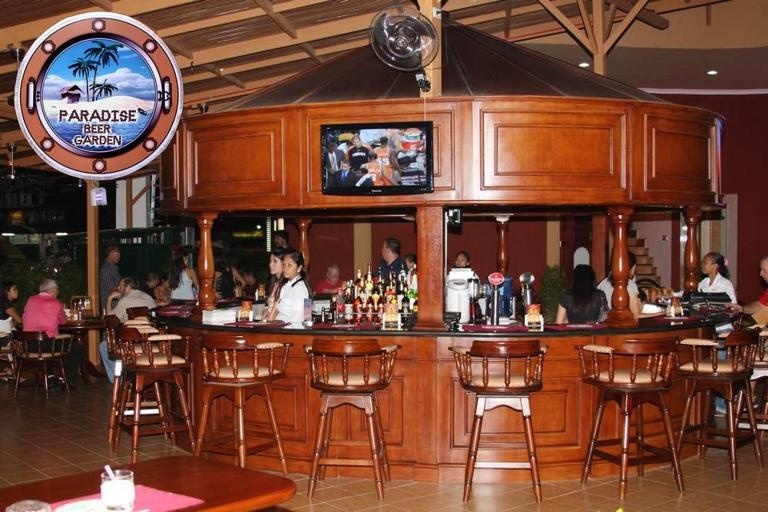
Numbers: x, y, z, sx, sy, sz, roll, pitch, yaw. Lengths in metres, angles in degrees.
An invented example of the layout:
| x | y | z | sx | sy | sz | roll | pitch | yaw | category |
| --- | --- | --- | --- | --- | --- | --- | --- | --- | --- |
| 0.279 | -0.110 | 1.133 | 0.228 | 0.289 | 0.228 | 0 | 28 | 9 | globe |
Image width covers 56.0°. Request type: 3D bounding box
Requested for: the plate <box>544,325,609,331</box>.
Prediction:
| x | y | z | sx | sy | sz | roll | pitch | yaw | category |
| --- | --- | --- | --- | --- | --- | --- | --- | --- | --- |
| 2.066 | 0.770 | 7.815 | 0.713 | 0.073 | 0.443 | -1 | -6 | -5 | plate |

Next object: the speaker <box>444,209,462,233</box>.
| x | y | z | sx | sy | sz | roll | pitch | yaw | category |
| --- | --- | --- | --- | --- | --- | --- | --- | --- | --- |
| 0.832 | -0.443 | 8.857 | 0.261 | 0.229 | 0.436 | -3 | -29 | 2 | speaker |

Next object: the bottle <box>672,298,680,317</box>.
| x | y | z | sx | sy | sz | roll | pitch | yaw | category |
| --- | --- | --- | --- | --- | --- | --- | --- | --- | --- |
| 3.400 | 0.588 | 8.461 | 0.138 | 0.248 | 0.221 | -4 | -6 | 21 | bottle |

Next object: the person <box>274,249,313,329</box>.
| x | y | z | sx | sy | sz | roll | pitch | yaw | category |
| --- | --- | --- | --- | --- | --- | --- | --- | --- | --- |
| -1.084 | 0.369 | 8.325 | 0.439 | 0.872 | 0.447 | -2 | -6 | 5 | person |

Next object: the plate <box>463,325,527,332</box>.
| x | y | z | sx | sy | sz | roll | pitch | yaw | category |
| --- | --- | --- | --- | --- | --- | --- | --- | --- | --- |
| 1.165 | 0.770 | 7.697 | 0.682 | 0.084 | 0.306 | -2 | -6 | 5 | plate |

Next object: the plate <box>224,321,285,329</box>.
| x | y | z | sx | sy | sz | roll | pitch | yaw | category |
| --- | --- | --- | --- | --- | --- | --- | --- | --- | --- |
| -1.415 | 0.763 | 8.080 | 0.762 | 0.100 | 0.351 | -3 | -6 | 20 | plate |

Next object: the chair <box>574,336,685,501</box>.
| x | y | z | sx | sy | sz | roll | pitch | yaw | category |
| --- | --- | --- | --- | --- | --- | --- | --- | --- | --- |
| 2.531 | 1.643 | 7.508 | 1.013 | 1.564 | 0.989 | -3 | -6 | 17 | chair |

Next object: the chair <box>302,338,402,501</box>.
| x | y | z | sx | sy | sz | roll | pitch | yaw | category |
| --- | --- | --- | --- | --- | --- | --- | --- | --- | --- |
| -0.330 | 1.625 | 7.406 | 0.949 | 1.587 | 0.813 | -1 | -6 | -6 | chair |

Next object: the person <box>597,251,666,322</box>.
| x | y | z | sx | sy | sz | roll | pitch | yaw | category |
| --- | --- | --- | --- | --- | --- | --- | --- | --- | --- |
| 2.873 | 0.529 | 8.666 | 0.437 | 0.858 | 0.520 | -16 | -8 | 15 | person |

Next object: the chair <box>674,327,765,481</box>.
| x | y | z | sx | sy | sz | roll | pitch | yaw | category |
| --- | --- | --- | --- | --- | --- | --- | --- | --- | --- |
| 3.723 | 1.596 | 8.086 | 0.882 | 1.565 | 1.275 | -4 | -6 | 21 | chair |

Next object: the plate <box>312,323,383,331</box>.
| x | y | z | sx | sy | sz | roll | pitch | yaw | category |
| --- | --- | --- | --- | --- | --- | --- | --- | --- | --- |
| -0.435 | 0.776 | 7.943 | 0.743 | 0.099 | 0.523 | -1 | -6 | -5 | plate |

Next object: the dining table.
| x | y | z | sx | sy | sz | roll | pitch | yaw | category |
| --- | --- | --- | --- | --- | --- | --- | --- | --- | --- |
| -5.012 | 1.532 | 11.925 | 1.289 | 0.926 | 1.228 | -1 | -5 | 10 | dining table |

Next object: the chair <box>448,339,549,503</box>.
| x | y | z | sx | sy | sz | roll | pitch | yaw | category |
| --- | --- | --- | --- | --- | --- | --- | --- | --- | --- |
| 1.156 | 1.633 | 7.265 | 0.955 | 1.601 | 0.751 | -2 | -6 | 8 | chair |

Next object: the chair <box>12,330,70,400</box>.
| x | y | z | sx | sy | sz | roll | pitch | yaw | category |
| --- | --- | --- | --- | --- | --- | --- | --- | --- | --- |
| -5.327 | 1.644 | 11.201 | 0.802 | 0.946 | 1.179 | 2 | -7 | -26 | chair |

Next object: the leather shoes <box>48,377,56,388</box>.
| x | y | z | sx | sy | sz | roll | pitch | yaw | category |
| --- | --- | --- | --- | --- | --- | --- | --- | --- | --- |
| -5.224 | 1.975 | 11.350 | 0.188 | 0.165 | 0.081 | -3 | 0 | -12 | leather shoes |

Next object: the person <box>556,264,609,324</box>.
| x | y | z | sx | sy | sz | roll | pitch | yaw | category |
| --- | --- | --- | --- | --- | --- | --- | --- | --- | --- |
| 2.280 | 0.437 | 8.398 | 0.581 | 0.683 | 0.537 | -3 | -6 | 15 | person |
